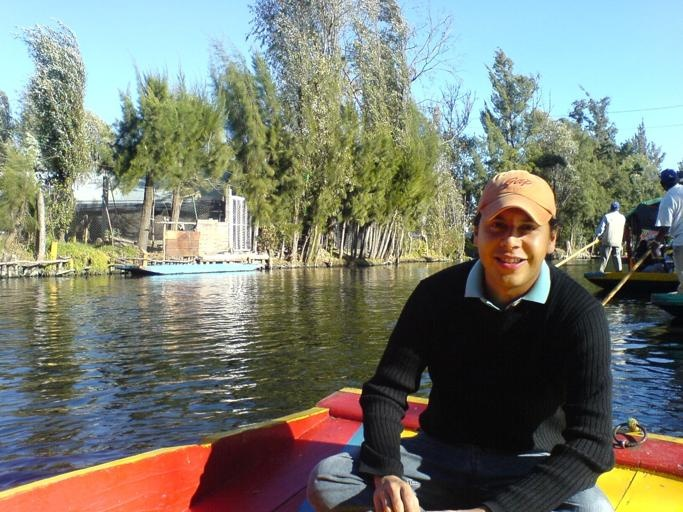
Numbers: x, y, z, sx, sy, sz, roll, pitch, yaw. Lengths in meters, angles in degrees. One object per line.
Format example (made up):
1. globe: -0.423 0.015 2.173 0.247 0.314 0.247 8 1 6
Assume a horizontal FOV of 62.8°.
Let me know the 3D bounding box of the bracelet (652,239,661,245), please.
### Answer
1. bracelet: 5.559 -0.265 9.844 0.114 0.033 0.108 13 -18 -37

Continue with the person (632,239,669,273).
1. person: 7.834 0.006 14.172 1.047 1.217 0.819 -2 -3 35

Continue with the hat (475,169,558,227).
1. hat: 0.914 -0.286 2.865 0.402 0.327 0.595 4 -3 28
